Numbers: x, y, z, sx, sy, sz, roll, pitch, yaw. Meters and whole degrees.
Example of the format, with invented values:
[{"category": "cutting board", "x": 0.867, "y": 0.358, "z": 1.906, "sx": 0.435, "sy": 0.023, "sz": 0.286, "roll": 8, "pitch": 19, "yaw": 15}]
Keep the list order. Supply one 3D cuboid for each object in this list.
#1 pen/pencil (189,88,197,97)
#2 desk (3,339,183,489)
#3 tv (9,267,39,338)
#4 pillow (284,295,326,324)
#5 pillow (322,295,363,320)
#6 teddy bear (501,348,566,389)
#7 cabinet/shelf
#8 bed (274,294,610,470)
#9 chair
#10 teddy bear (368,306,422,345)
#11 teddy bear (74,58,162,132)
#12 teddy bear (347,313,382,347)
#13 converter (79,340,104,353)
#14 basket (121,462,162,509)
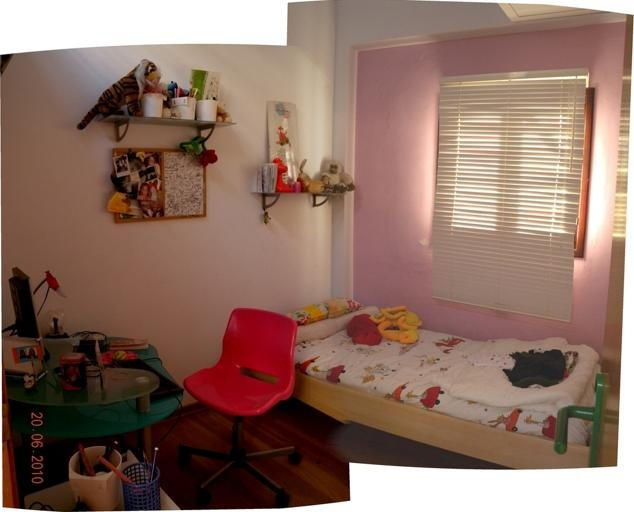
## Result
[{"category": "pen/pencil", "x": -0.530, "y": -0.694, "z": 2.152, "sx": 0.025, "sy": 0.032, "sz": 0.011, "roll": 4, "pitch": 11, "yaw": 6}, {"category": "desk", "x": -0.845, "y": 0.560, "z": 1.893, "sx": 0.449, "sy": 0.314, "sz": 0.659, "roll": 11, "pitch": 14, "yaw": 41}, {"category": "tv", "x": -1.111, "y": 0.170, "z": 1.907, "sx": 0.035, "sy": 0.200, "sz": 0.263, "roll": -11, "pitch": 7, "yaw": -34}, {"category": "pillow", "x": -0.048, "y": 0.242, "z": 2.207, "sx": 0.133, "sy": 0.039, "sz": 0.101, "roll": -9, "pitch": 49, "yaw": 1}, {"category": "pillow", "x": 0.107, "y": 0.205, "z": 2.177, "sx": 0.107, "sy": 0.092, "sz": 0.032, "roll": 2, "pitch": -31, "yaw": 13}, {"category": "teddy bear", "x": 0.875, "y": 0.444, "z": 2.037, "sx": 0.247, "sy": 0.120, "sz": 0.108, "roll": -1, "pitch": 9, "yaw": 2}, {"category": "cabinet/shelf", "x": -0.395, "y": -0.402, "z": 2.198, "sx": 0.995, "sy": 0.402, "sz": 0.181, "roll": -1, "pitch": 9, "yaw": 0}, {"category": "bed", "x": 0.506, "y": 0.466, "z": 2.075, "sx": 0.994, "sy": 0.270, "sz": 0.556, "roll": 6, "pitch": 24, "yaw": 15}, {"category": "chair", "x": -0.326, "y": 0.641, "z": 2.137, "sx": 0.581, "sy": 0.684, "sz": 0.537, "roll": 11, "pitch": 12, "yaw": 27}, {"category": "teddy bear", "x": 0.342, "y": 0.285, "z": 2.207, "sx": 0.189, "sy": 0.097, "sz": 0.227, "roll": -23, "pitch": 27, "yaw": -35}, {"category": "teddy bear", "x": -0.831, "y": -0.674, "z": 2.079, "sx": 0.308, "sy": 0.159, "sz": 0.098, "roll": -30, "pitch": 56, "yaw": -7}, {"category": "teddy bear", "x": 0.197, "y": 0.317, "z": 2.176, "sx": 0.127, "sy": 0.135, "sz": 0.046, "roll": -19, "pitch": -2, "yaw": 7}, {"category": "converter", "x": -0.884, "y": 0.349, "z": 1.965, "sx": 0.077, "sy": 0.019, "sz": 0.081, "roll": 1, "pitch": 2, "yaw": -17}, {"category": "basket", "x": -0.560, "y": 0.737, "z": 1.692, "sx": 0.135, "sy": 0.144, "sz": 0.139, "roll": 0, "pitch": 3, "yaw": -7}]
